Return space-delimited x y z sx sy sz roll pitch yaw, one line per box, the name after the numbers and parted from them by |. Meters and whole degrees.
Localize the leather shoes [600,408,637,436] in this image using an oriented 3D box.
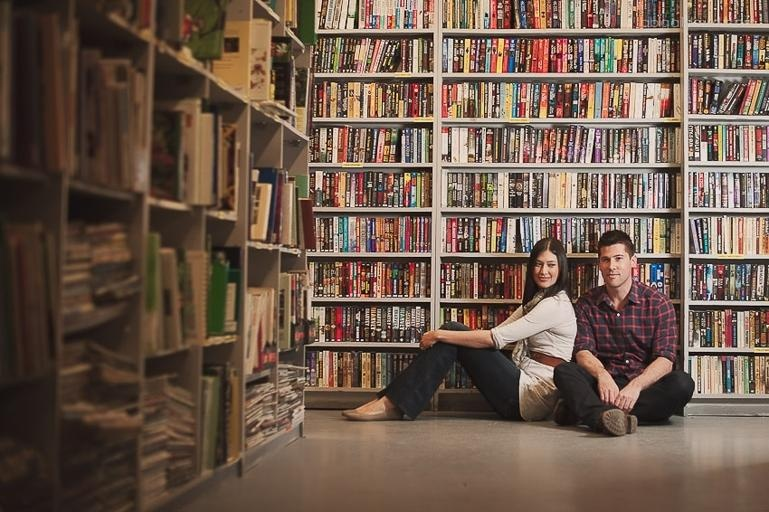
1.185 0.844 4.063 0.170 0.127 0.066 -5 -3 -12 | leather shoes

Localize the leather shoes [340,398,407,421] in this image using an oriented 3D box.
-0.058 0.846 4.465 0.374 0.156 0.127 4 -6 -6 | leather shoes

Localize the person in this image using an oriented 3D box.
0.705 0.486 4.701 1.691 1.019 1.053 2 -8 -1 | person
